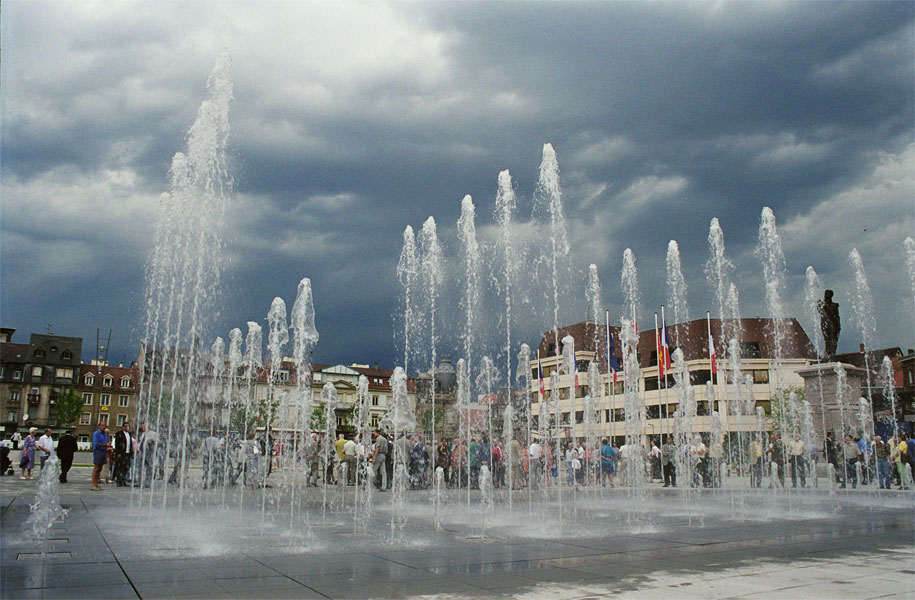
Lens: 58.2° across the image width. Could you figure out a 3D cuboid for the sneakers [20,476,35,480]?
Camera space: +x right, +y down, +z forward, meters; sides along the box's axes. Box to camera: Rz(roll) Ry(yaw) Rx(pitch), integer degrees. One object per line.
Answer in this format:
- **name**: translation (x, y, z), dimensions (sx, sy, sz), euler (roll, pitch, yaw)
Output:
- **sneakers**: translation (-15.096, 6.216, 28.930), dimensions (0.447, 0.192, 0.157), euler (-9, -16, 31)
